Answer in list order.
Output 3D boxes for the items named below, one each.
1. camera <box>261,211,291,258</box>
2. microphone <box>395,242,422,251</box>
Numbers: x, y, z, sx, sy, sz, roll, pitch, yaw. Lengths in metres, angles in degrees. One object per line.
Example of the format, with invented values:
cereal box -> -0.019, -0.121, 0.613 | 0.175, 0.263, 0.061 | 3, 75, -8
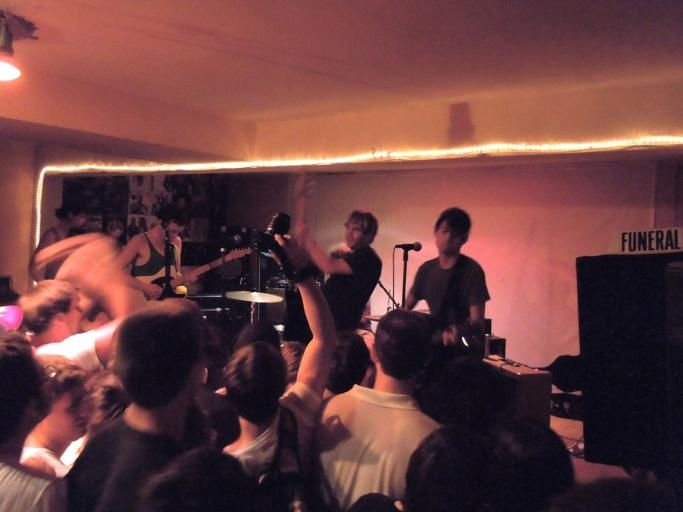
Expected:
camera -> -0.228, -0.071, 2.170 | 0.056, 0.145, 0.142 | 37, -22, -35
microphone -> 0.562, -0.080, 4.846 | 0.283, 0.085, 0.086 | -4, 5, 5
